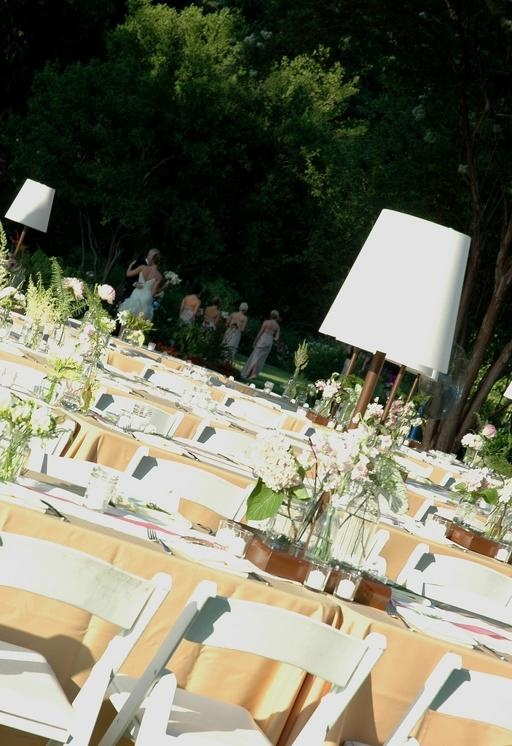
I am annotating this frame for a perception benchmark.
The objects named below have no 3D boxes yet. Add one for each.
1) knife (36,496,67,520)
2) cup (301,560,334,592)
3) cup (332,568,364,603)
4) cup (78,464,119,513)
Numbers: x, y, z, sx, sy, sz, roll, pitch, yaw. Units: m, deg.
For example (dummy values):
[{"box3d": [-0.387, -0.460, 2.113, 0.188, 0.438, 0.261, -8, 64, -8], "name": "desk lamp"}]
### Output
[{"box3d": [-0.638, 0.429, 2.141, 0.071, 0.020, 0.196, 18, 3, -23], "name": "knife"}, {"box3d": [0.227, 0.755, 2.582, 0.116, 0.115, 0.099, 7, 9, -28], "name": "cup"}, {"box3d": [0.339, 0.793, 2.570, 0.117, 0.121, 0.111, 7, 0, 0], "name": "cup"}, {"box3d": [-0.617, 0.455, 2.652, 0.144, 0.200, 0.128, 18, 15, 20], "name": "cup"}]
